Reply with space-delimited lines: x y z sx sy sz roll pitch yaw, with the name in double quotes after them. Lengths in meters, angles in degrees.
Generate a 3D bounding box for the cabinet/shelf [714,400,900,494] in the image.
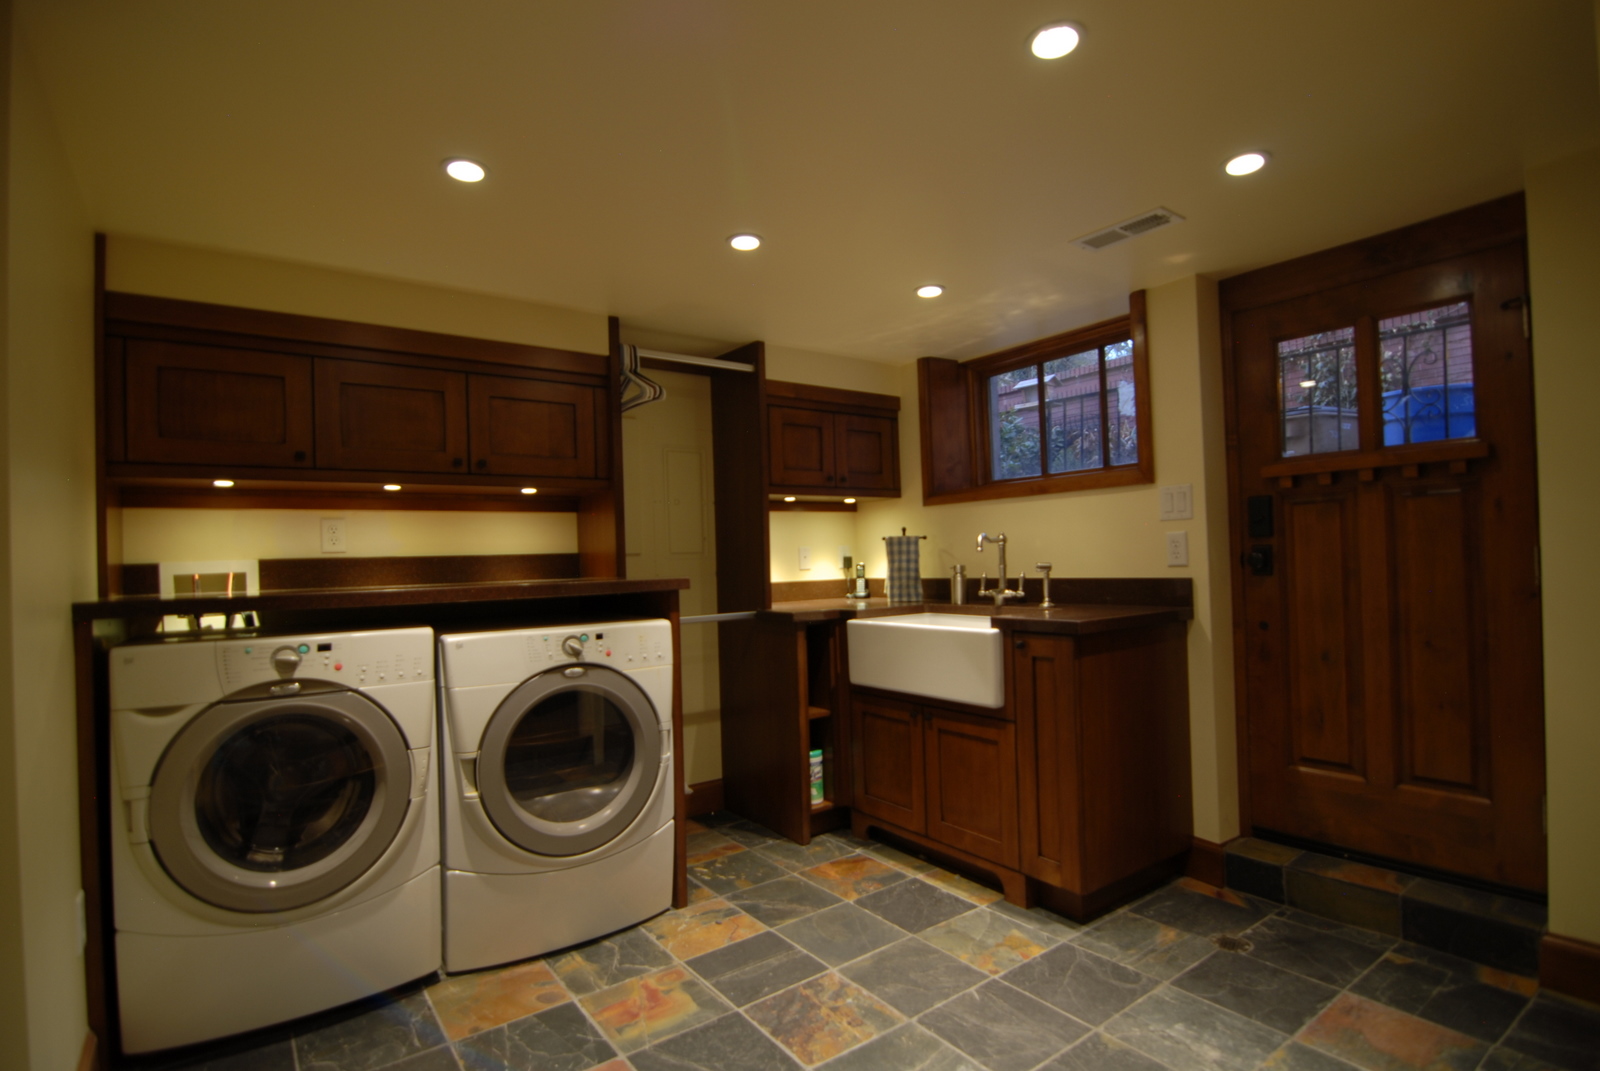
0.103 -0.443 5.782 0.858 0.535 0.301 0 -2 -38 "cabinet/shelf"

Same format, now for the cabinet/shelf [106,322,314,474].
-2.307 -0.515 4.303 0.776 0.684 0.426 3 -5 -39 "cabinet/shelf"

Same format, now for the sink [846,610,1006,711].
0.570 0.560 4.817 0.389 0.225 0.528 8 -10 -42 "sink"

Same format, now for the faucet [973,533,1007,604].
0.940 0.165 5.445 0.167 0.268 0.388 -4 1 9 "faucet"

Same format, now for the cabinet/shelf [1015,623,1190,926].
1.295 0.925 4.634 0.827 0.850 0.281 -5 2 -25 "cabinet/shelf"

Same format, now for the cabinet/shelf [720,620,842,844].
-0.101 0.903 5.485 0.331 0.947 0.723 -6 2 -39 "cabinet/shelf"
